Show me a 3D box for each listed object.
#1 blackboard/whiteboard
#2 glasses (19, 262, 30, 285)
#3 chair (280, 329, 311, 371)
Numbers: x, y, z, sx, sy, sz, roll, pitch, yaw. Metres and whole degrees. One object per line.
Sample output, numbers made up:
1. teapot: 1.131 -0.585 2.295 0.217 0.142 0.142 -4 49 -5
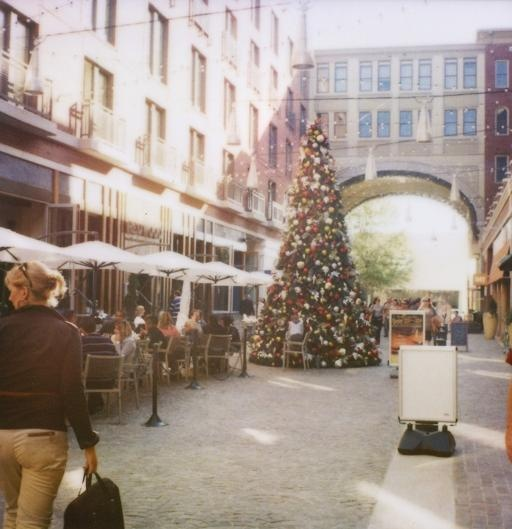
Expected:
1. blackboard/whiteboard: 1.988 1.523 7.541 0.677 1.002 0.617 3 -37 12
2. glasses: -1.176 0.049 3.312 0.026 0.100 0.090 -6 3 -19
3. chair: 1.040 2.202 16.951 0.669 1.366 0.857 -1 -10 13
